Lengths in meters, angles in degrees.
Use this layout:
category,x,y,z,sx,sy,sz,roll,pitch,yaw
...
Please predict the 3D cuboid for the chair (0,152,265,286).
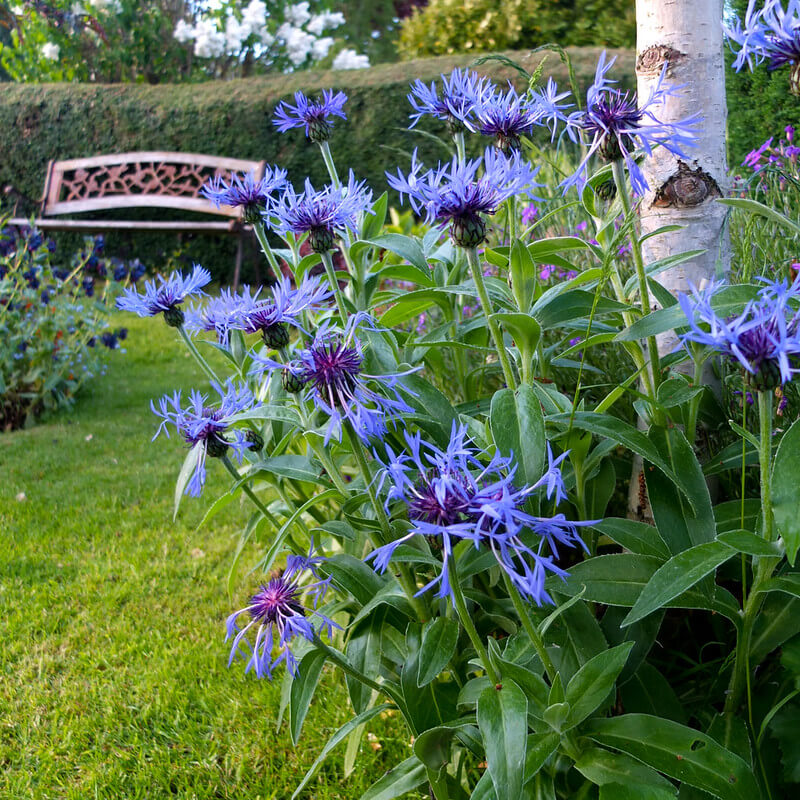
category,x,y,z,sx,sy,sz,roll,pitch,yaw
chair,-1.844,-1.195,6.888,1.815,1.121,0.723,4,9,17
